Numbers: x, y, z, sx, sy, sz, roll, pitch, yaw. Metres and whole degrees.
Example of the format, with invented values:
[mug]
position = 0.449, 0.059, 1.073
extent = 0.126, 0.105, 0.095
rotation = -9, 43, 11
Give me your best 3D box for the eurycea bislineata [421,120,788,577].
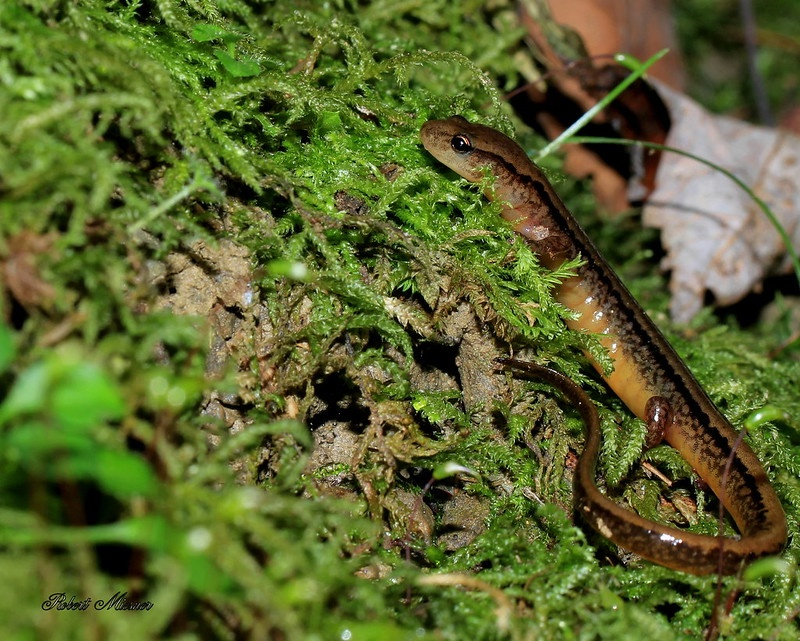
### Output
[eurycea bislineata]
position = 0.897, 0.150, 3.568
extent = 2.057, 0.937, 1.021
rotation = 46, 12, 25
